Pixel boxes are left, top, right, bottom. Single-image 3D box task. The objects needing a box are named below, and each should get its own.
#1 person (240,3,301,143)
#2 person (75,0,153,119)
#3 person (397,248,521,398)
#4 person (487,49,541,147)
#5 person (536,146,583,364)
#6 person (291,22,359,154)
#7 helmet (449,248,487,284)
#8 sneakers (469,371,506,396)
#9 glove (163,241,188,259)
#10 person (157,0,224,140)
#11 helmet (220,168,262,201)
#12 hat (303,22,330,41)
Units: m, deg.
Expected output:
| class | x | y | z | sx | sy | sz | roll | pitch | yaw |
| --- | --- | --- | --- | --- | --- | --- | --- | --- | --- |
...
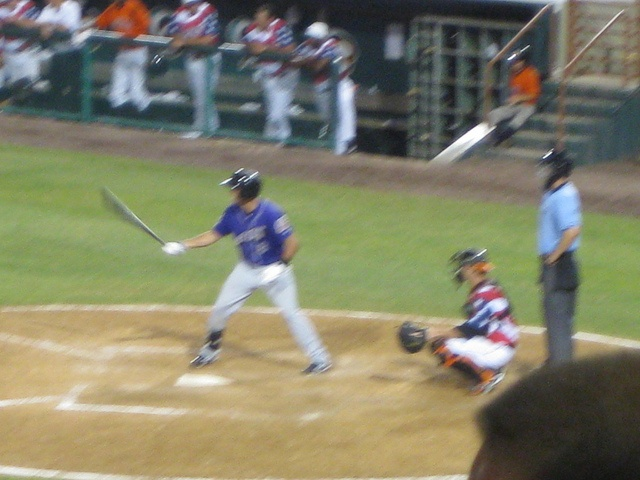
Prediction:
| class | x | y | z | sx | sy | sz | roll | pitch | yaw |
| --- | --- | --- | --- | --- | --- | --- | --- | --- | --- |
| person | -0.711 | -2.324 | 19.880 | 0.763 | 1.924 | 0.638 | 3 | 7 | -3 |
| person | -2.778 | -2.650 | 20.105 | 0.616 | 1.614 | 0.806 | -1 | 8 | -32 |
| person | 1.453 | 0.830 | 14.520 | 1.025 | 1.475 | 0.399 | 6 | 7 | 27 |
| person | 2.984 | -2.219 | 21.642 | 0.727 | 1.539 | 0.544 | 9 | 9 | 40 |
| person | 2.424 | 0.178 | 14.188 | 0.450 | 2.133 | 0.547 | 3 | 7 | -9 |
| person | 0.091 | -2.122 | 19.957 | 0.526 | 1.797 | 1.033 | 9 | 9 | 39 |
| helmet | 1.546 | 0.229 | 14.612 | 0.447 | 0.218 | 0.490 | -10 | -13 | -9 |
| sneakers | 1.704 | 1.488 | 14.478 | 0.486 | 0.133 | 0.147 | -25 | 48 | -7 |
| glove | -1.614 | 0.101 | 15.858 | 0.276 | 0.048 | 0.241 | 0 | 15 | -7 |
| person | -1.786 | -2.413 | 19.950 | 0.793 | 1.949 | 0.613 | 3 | 7 | -5 |
| helmet | -0.854 | -0.555 | 14.735 | 0.549 | 0.281 | 0.243 | 10 | -36 | -3 |
| hat | -0.064 | -2.974 | 20.118 | 0.499 | 0.160 | 0.554 | -2 | 19 | 2 |
